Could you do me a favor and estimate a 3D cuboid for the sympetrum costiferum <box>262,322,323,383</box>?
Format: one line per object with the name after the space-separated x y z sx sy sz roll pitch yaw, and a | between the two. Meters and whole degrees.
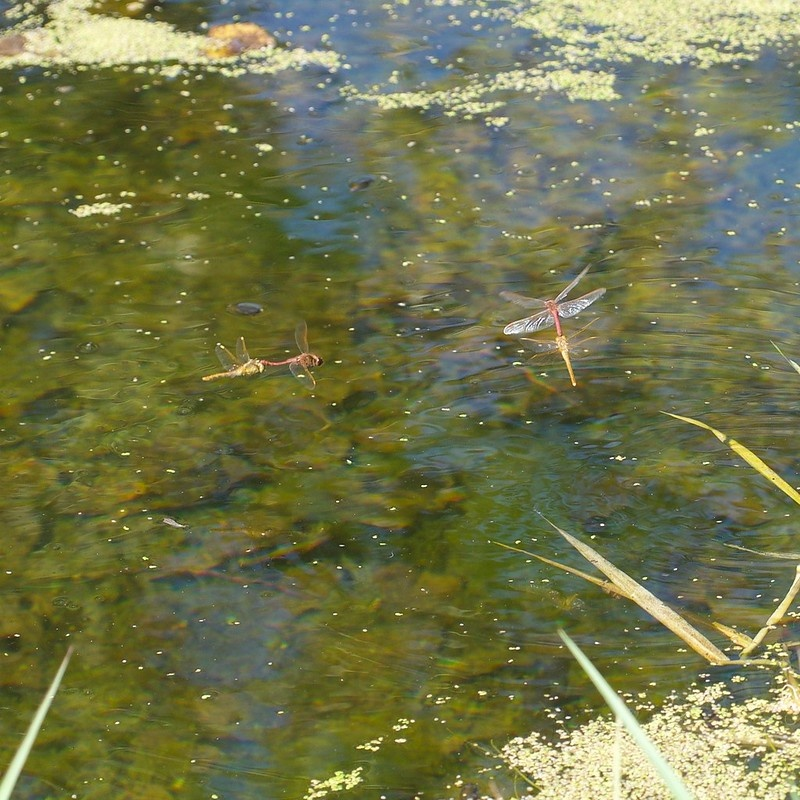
-0.467 -0.223 4.343 0.261 0.211 0.356 -1 42 -2 | sympetrum costiferum

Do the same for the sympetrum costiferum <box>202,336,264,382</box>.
-0.705 -0.161 4.357 0.306 0.185 0.108 -6 26 -8 | sympetrum costiferum

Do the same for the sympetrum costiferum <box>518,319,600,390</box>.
0.740 -0.195 4.372 0.396 0.058 0.249 -9 58 -1 | sympetrum costiferum
